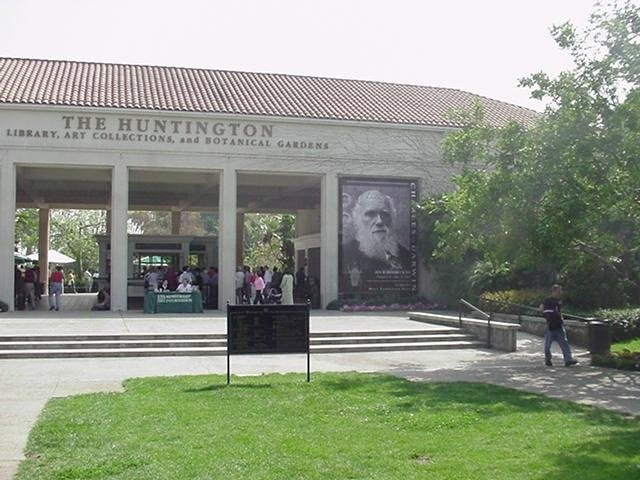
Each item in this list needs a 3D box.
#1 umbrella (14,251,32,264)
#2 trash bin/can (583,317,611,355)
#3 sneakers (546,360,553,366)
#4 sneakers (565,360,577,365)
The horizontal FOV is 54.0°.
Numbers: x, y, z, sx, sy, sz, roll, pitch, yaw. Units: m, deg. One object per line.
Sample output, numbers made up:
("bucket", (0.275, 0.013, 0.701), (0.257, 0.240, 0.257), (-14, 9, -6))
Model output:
("umbrella", (-18.396, 1.204, 38.790), (0.791, 0.653, 5.506), (-1, 2, -24))
("trash bin/can", (7.016, 2.456, 15.792), (0.494, 0.822, 0.697), (1, 3, 23))
("sneakers", (5.612, 3.035, 15.406), (0.093, 0.095, 0.124), (0, -7, -7))
("sneakers", (6.049, 2.975, 15.135), (0.290, 0.143, 0.108), (-6, 1, 3))
